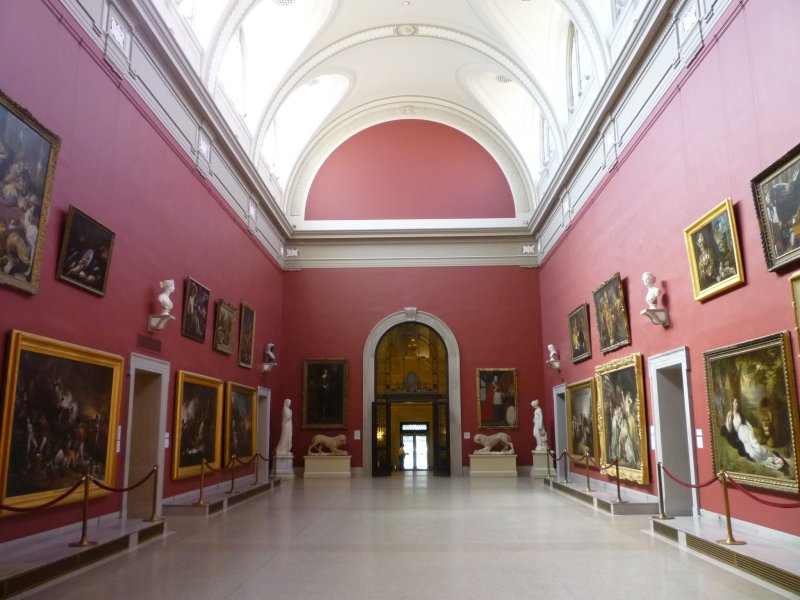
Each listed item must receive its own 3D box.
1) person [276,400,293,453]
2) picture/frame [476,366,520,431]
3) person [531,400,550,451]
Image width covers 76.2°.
[{"bbox_3d":[-4.272,4.638,18.909,0.471,2.000,0.798,7,-14,-32],"label":"person"},{"bbox_3d":[3.870,3.987,20.122,1.872,3.256,0.210,1,-16,-2],"label":"picture/frame"},{"bbox_3d":[5.335,4.702,19.327,0.564,1.811,1.254,-3,-12,16],"label":"person"}]
